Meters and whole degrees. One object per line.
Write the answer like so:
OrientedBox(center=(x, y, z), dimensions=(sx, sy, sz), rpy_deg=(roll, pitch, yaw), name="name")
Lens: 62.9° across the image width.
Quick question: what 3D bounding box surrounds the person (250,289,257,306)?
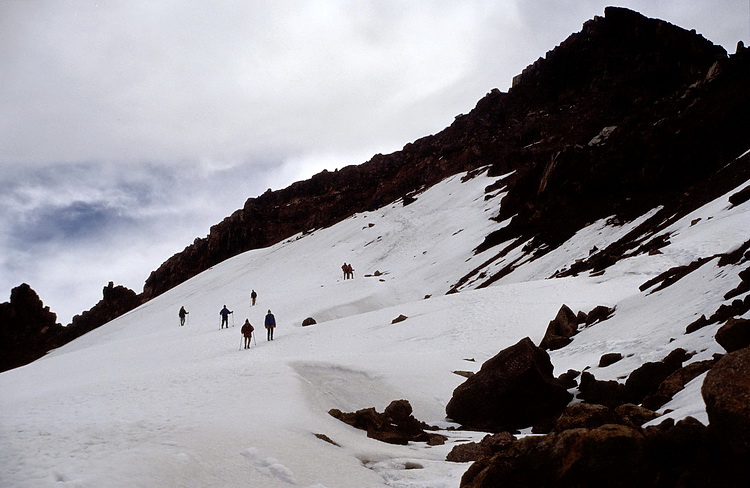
OrientedBox(center=(-11.224, 4.990, 56.590), dimensions=(0.516, 0.774, 1.758), rpy_deg=(-4, -3, -12), name="person")
